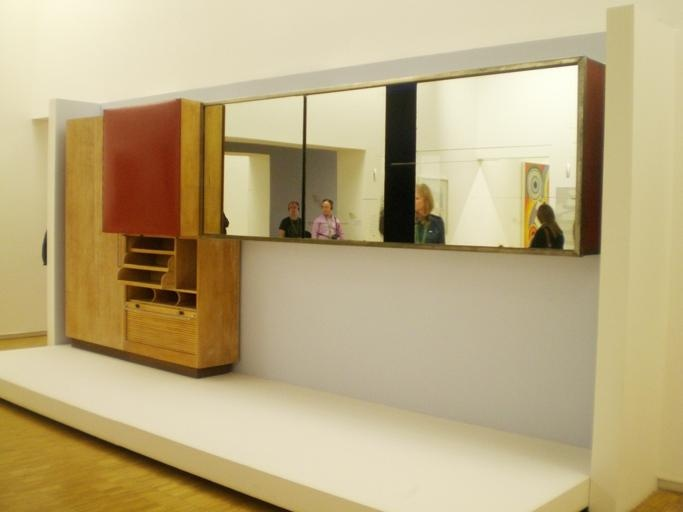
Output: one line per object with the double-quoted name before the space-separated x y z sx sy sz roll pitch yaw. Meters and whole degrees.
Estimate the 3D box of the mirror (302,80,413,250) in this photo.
"mirror" 0.126 -0.637 3.809 1.113 1.254 0.018 3 5 38

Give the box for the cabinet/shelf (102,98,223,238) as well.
"cabinet/shelf" -1.666 -0.762 4.977 1.096 1.090 0.365 4 5 36

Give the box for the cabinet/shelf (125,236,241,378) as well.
"cabinet/shelf" -1.512 0.395 5.207 1.154 1.191 0.404 3 4 42

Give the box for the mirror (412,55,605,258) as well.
"mirror" 0.997 -0.612 3.487 1.067 1.056 0.382 7 21 42
